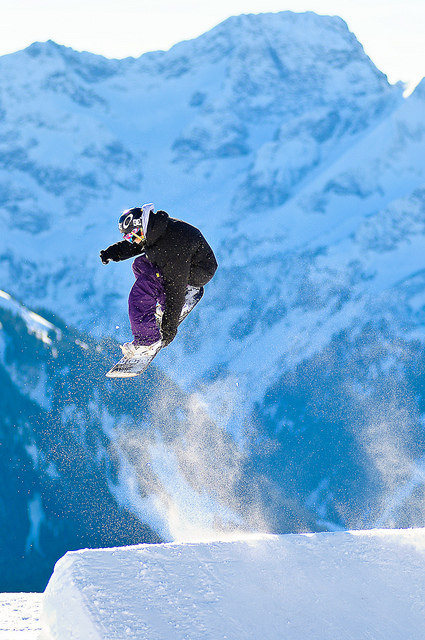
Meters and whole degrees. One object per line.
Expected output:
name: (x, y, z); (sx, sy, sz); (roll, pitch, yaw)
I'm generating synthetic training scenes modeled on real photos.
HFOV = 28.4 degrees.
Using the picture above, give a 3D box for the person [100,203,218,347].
person: (-0.815, -0.693, 13.630); (1.485, 2.340, 0.800); (2, 14, -8)

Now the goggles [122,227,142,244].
goggles: (-1.275, -1.357, 13.393); (0.247, 0.122, 0.184); (-26, 9, 43)
